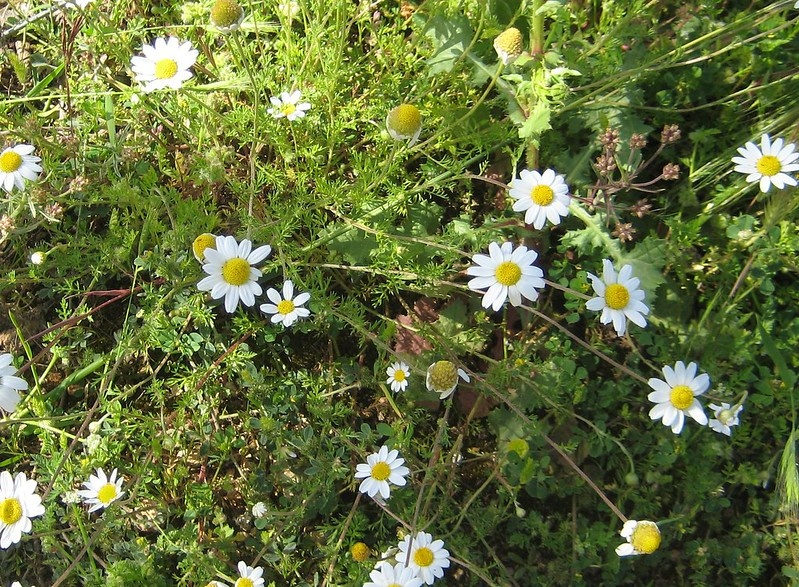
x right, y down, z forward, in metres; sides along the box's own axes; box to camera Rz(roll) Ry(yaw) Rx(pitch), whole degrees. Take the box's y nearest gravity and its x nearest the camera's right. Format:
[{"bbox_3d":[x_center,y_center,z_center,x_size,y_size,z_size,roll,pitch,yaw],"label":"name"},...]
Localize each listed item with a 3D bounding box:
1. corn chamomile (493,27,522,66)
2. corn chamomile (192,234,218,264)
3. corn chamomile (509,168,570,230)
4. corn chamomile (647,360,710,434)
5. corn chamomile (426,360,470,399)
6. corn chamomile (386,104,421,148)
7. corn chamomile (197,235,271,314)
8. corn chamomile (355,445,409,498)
[{"bbox_3d":[0.535,-1.198,3.291,0.125,0.196,0.140,15,49,15],"label":"corn chamomile"},{"bbox_3d":[-0.941,-0.213,3.213,0.120,0.042,0.133,-7,91,-1],"label":"corn chamomile"},{"bbox_3d":[0.686,-0.448,3.295,0.280,0.279,0.256,19,51,18],"label":"corn chamomile"},{"bbox_3d":[1.340,0.507,3.236,0.295,0.281,0.274,12,49,12],"label":"corn chamomile"},{"bbox_3d":[0.221,0.391,3.242,0.163,0.222,0.147,21,67,-8],"label":"corn chamomile"},{"bbox_3d":[0.017,-0.799,3.297,0.156,0.282,0.143,-22,50,-18],"label":"corn chamomile"},{"bbox_3d":[-0.779,-0.055,3.171,0.286,0.396,0.289,7,48,8],"label":"corn chamomile"},{"bbox_3d":[-0.085,0.866,3.227,0.239,0.159,0.181,-18,50,-14],"label":"corn chamomile"}]
